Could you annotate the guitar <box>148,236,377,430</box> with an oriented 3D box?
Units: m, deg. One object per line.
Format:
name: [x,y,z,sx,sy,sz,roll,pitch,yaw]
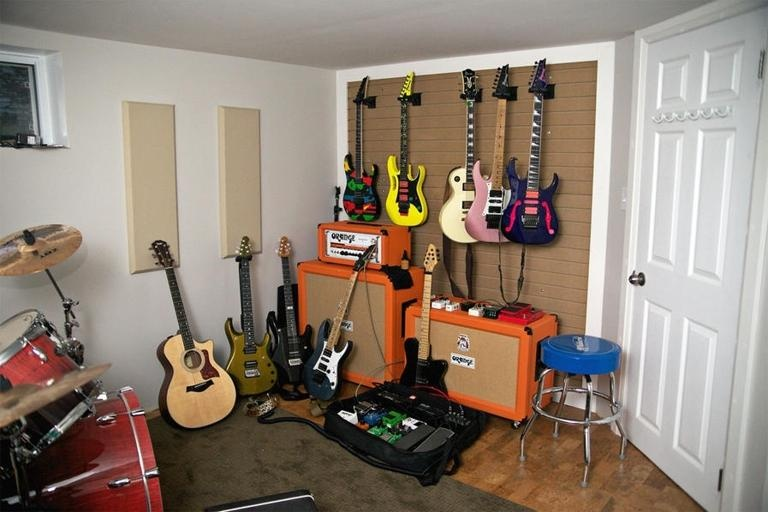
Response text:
guitar: [-0.976,0.636,4.265,0.234,1.827,1.321,-11,-3,40]

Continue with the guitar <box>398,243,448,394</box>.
guitar: [0.300,0.484,4.114,0.362,1.111,0.317,-2,14,-2]

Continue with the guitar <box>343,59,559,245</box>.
guitar: [0.656,-0.802,4.323,1.520,1.439,0.434,6,16,26]

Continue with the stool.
stool: [1.330,1.000,3.718,0.753,0.846,0.751,3,7,16]
